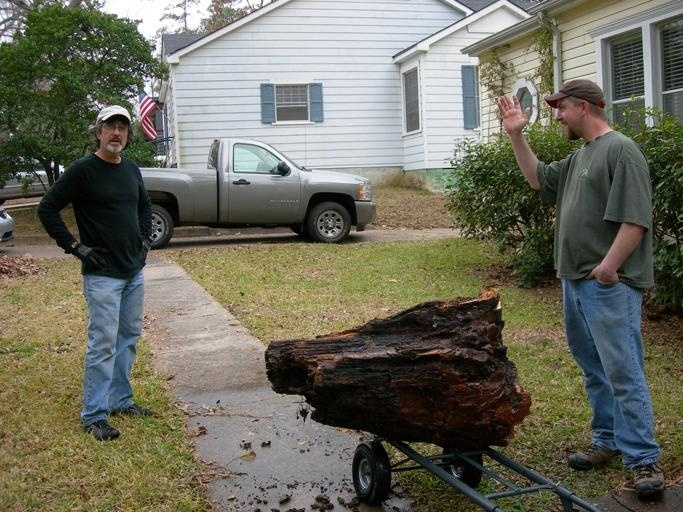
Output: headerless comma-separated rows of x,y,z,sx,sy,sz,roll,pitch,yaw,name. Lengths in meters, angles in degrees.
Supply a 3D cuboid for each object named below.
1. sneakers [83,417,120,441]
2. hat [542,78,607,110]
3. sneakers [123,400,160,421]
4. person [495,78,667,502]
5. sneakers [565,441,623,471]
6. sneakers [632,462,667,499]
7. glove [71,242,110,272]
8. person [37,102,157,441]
-1.746,1.250,4.642,0.283,0.103,0.109,5,5,21,sneakers
1.541,-1.078,4.213,0.354,0.160,0.222,8,5,12,hat
-1.575,1.225,5.000,0.270,0.097,0.091,0,-1,-1,sneakers
1.680,0.129,4.161,0.466,2.527,1.236,-6,13,-24,person
1.668,1.342,4.238,0.376,0.154,0.132,4,-12,-7,sneakers
1.939,1.372,4.020,0.165,0.212,0.500,-20,-15,24,sneakers
-1.889,0.004,4.755,0.064,0.230,0.181,-18,35,40,glove
-1.842,0.062,4.858,0.682,2.366,1.065,1,12,8,person
